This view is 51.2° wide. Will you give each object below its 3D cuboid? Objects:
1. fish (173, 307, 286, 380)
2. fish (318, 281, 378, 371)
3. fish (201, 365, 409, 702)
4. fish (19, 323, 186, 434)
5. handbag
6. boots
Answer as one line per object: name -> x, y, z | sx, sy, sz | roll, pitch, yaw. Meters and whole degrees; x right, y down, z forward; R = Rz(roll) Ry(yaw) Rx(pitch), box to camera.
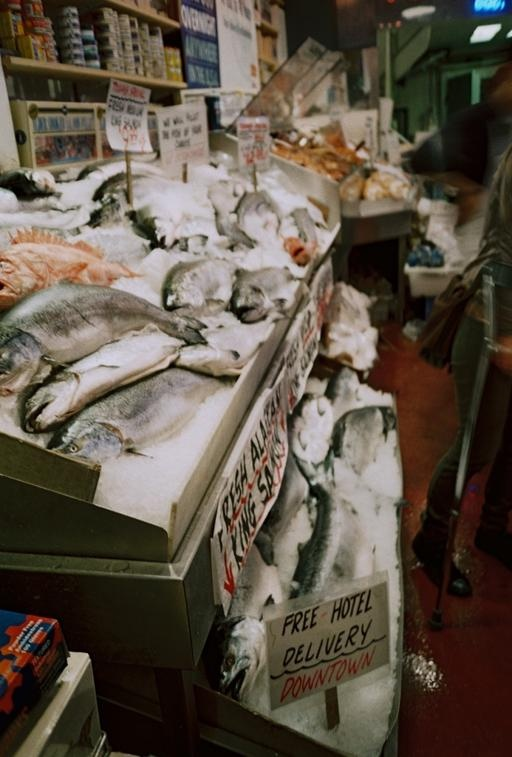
fish -> -0.072, -0.079, 1.358 | 0.363, 0.131, 0.111 | -26, 42, -37
fish -> 0.375, -0.186, 2.196 | 0.214, 0.135, 0.352 | 13, 55, -19
fish -> 0.217, 0.313, 1.710 | 0.275, 0.483, 1.413 | -25, 30, 31
fish -> -0.271, -0.001, 1.081 | 0.106, 0.100, 0.408 | -19, 10, 41
handbag -> 0.641, -0.194, 1.862 | 0.077, 0.251, 0.184 | 9, 29, 6
boots -> 0.580, 0.587, 1.743 | 0.147, 0.291, 0.073 | -5, 47, 29
